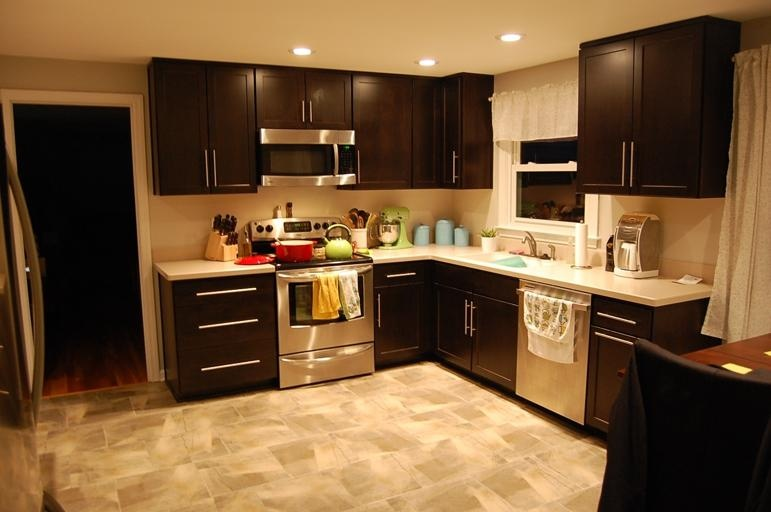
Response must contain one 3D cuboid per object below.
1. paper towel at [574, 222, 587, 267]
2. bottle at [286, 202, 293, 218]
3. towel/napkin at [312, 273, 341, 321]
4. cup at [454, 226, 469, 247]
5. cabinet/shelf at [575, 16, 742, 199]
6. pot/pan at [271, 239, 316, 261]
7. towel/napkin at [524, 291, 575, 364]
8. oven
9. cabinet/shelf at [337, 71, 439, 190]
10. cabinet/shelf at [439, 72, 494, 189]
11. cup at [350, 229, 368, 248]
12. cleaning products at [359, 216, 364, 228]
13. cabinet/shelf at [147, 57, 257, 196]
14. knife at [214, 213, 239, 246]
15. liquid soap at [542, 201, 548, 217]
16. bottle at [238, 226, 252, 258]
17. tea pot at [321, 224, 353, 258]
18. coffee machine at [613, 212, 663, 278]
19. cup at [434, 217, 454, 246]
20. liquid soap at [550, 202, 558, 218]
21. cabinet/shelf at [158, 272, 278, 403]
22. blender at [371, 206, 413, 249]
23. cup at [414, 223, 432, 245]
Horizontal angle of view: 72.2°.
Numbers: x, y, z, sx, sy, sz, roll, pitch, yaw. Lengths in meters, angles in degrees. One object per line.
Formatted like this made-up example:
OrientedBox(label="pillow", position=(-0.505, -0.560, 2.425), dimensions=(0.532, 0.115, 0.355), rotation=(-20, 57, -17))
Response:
OrientedBox(label="paper towel", position=(1.604, -0.082, 4.324), dimensions=(0.100, 0.355, 0.106), rotation=(5, 14, 21))
OrientedBox(label="bottle", position=(-0.951, -0.457, 5.201), dimensions=(0.068, 0.144, 0.109), rotation=(1, 13, 7))
OrientedBox(label="towel/napkin", position=(-0.525, 0.373, 4.681), dimensions=(0.255, 0.442, 0.113), rotation=(-3, 13, -11))
OrientedBox(label="cup", position=(0.814, -0.208, 5.671), dimensions=(0.183, 0.207, 0.182), rotation=(1, -2, 0))
OrientedBox(label="cabinet/shelf", position=(1.956, -1.060, 3.708), dimensions=(0.536, 1.314, 1.185), rotation=(-1, 3, -30))
OrientedBox(label="pot/pan", position=(-0.826, -0.048, 4.749), dimensions=(0.311, 0.173, 0.238), rotation=(-5, 14, -18))
OrientedBox(label="towel/napkin", position=(1.245, 0.519, 3.977), dimensions=(0.099, 0.567, 0.484), rotation=(-11, 15, -36))
OrientedBox(label="oven", position=(-0.625, 0.591, 5.049), dimensions=(0.869, 1.145, 0.793), rotation=(-4, 9, -20))
OrientedBox(label="cabinet/shelf", position=(-0.016, -1.267, 5.195), dimensions=(1.044, 1.231, 0.430), rotation=(-2, 9, -20))
OrientedBox(label="cabinet/shelf", position=(0.819, -1.248, 5.316), dimensions=(0.544, 1.114, 0.320), rotation=(1, 13, 5))
OrientedBox(label="cup", position=(-0.259, -0.176, 5.239), dimensions=(0.172, 0.186, 0.175), rotation=(0, 7, 0))
OrientedBox(label="cleaning products", position=(-0.242, -0.331, 5.307), dimensions=(0.023, 0.088, 0.065), rotation=(-3, 17, 22))
OrientedBox(label="cabinet/shelf", position=(-1.616, -1.156, 4.568), dimensions=(1.039, 1.381, 0.565), rotation=(-2, 11, -18))
OrientedBox(label="knife", position=(-1.479, -0.251, 4.894), dimensions=(0.227, 0.252, 0.280), rotation=(-4, 14, -15))
OrientedBox(label="liquid soap", position=(1.524, -0.440, 5.035), dimensions=(0.021, 0.142, 0.079), rotation=(-5, 14, -19))
OrientedBox(label="bottle", position=(-1.309, -0.124, 4.914), dimensions=(0.115, 0.298, 0.358), rotation=(-4, 14, -16))
OrientedBox(label="tea pot", position=(-0.456, -0.132, 5.013), dimensions=(0.357, 0.350, 0.263), rotation=(0, 1, -8))
OrientedBox(label="coffee machine", position=(1.920, -0.078, 4.041), dimensions=(0.319, 0.462, 0.206), rotation=(5, 14, 23))
OrientedBox(label="cup", position=(0.640, -0.243, 5.740), dimensions=(0.240, 0.275, 0.244), rotation=(1, 1, 0))
OrientedBox(label="liquid soap", position=(1.580, -0.426, 4.952), dimensions=(0.037, 0.118, 0.083), rotation=(2, -14, -16))
OrientedBox(label="cabinet/shelf", position=(-1.459, 0.566, 4.801), dimensions=(1.147, 1.480, 0.978), rotation=(-2, 2, -29))
OrientedBox(label="blender", position=(0.060, -0.317, 5.555), dimensions=(0.430, 0.426, 0.259), rotation=(-4, 12, -36))
OrientedBox(label="cup", position=(0.410, -0.245, 5.656), dimensions=(0.204, 0.219, 0.202), rotation=(1, -1, 0))
